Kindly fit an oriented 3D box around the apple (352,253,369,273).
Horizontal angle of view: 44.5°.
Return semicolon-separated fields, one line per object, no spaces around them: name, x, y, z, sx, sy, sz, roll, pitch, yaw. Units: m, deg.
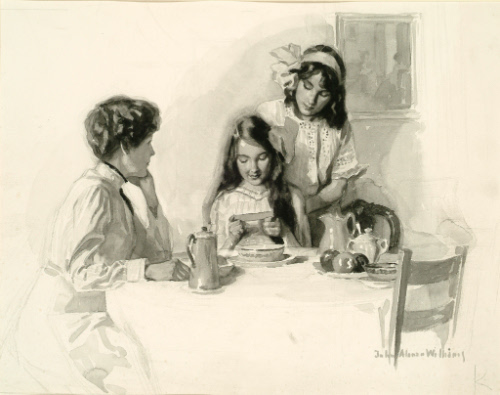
apple;0.509;0.300;2.794;0.072;0.083;0.034;17;11;8

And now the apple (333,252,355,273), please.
apple;0.431;0.303;2.830;0.089;0.090;0.055;19;-2;0

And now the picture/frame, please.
picture/frame;0.637;-0.665;3.031;0.522;0.665;0.031;-1;1;0

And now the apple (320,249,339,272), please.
apple;0.356;0.299;2.847;0.090;0.087;0.066;-23;-3;-28

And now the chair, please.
chair;0.297;0.546;2.801;1.605;0.606;0.597;-4;4;-11
